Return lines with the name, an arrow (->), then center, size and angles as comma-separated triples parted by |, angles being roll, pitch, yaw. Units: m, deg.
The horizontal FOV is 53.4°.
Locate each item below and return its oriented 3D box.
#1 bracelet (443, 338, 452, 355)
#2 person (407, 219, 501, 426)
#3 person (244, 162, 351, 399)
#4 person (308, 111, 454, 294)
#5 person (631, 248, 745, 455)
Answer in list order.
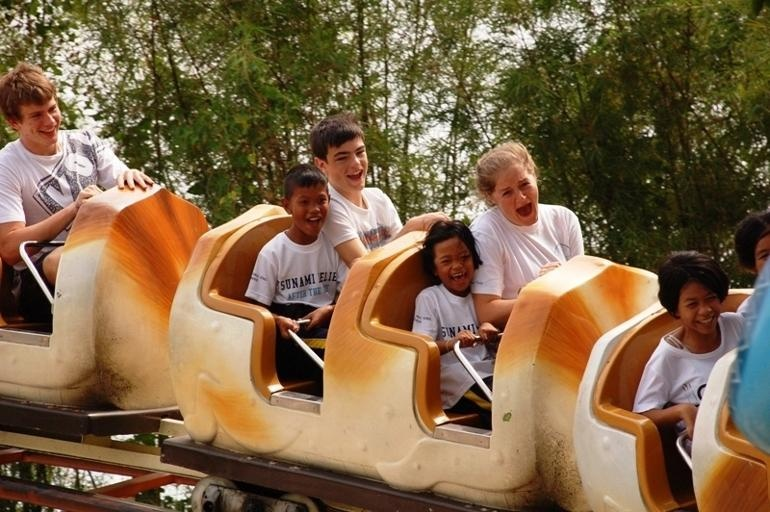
bracelet -> 0.283, 0.422, 3.632 | 0.043, 0.057, 0.053 | 2, -25, -11
person -> 0.359, 0.317, 3.733 | 0.367, 1.007, 0.370 | 0, -3, -30
person -> -0.440, 0.087, 4.160 | 0.497, 1.180, 0.441 | 1, -3, -40
person -> -0.061, -0.286, 4.384 | 0.792, 0.997, 0.648 | 1, 14, 27
person -> 1.268, 0.350, 3.195 | 0.510, 0.751, 0.271 | 0, -3, -26
